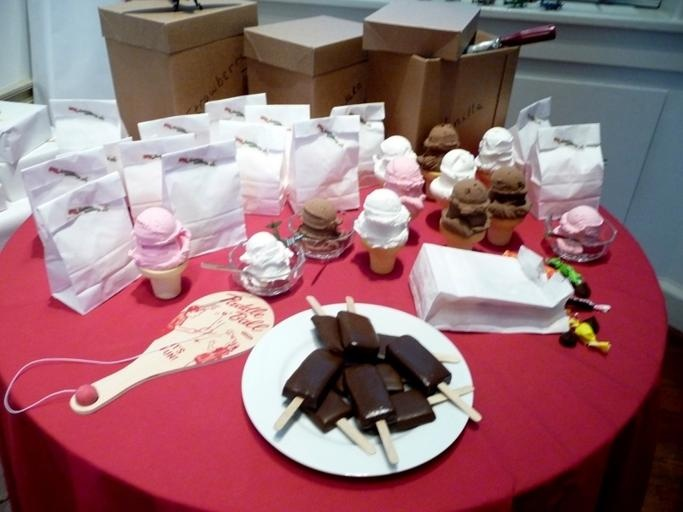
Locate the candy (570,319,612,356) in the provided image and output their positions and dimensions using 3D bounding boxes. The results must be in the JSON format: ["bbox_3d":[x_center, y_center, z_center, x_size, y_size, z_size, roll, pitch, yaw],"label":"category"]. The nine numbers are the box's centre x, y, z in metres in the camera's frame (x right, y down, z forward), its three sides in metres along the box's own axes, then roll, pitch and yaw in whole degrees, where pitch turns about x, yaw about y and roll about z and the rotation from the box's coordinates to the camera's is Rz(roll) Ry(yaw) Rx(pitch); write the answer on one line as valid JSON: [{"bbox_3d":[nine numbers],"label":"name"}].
[{"bbox_3d":[0.744,0.237,1.570,0.057,0.061,0.154,-17,41,-17],"label":"candy"}]

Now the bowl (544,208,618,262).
[{"bbox_3d":[0.884,-0.086,1.881,0.211,0.174,0.219,2,-4,0],"label":"bowl"}]

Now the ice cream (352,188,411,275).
[{"bbox_3d":[0.139,-0.089,1.757,0.183,0.330,0.218,-9,40,-6],"label":"ice cream"}]

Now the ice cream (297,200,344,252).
[{"bbox_3d":[-0.077,-0.108,1.833,0.168,0.193,0.182,9,31,8],"label":"ice cream"}]

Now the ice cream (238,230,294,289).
[{"bbox_3d":[-0.246,0.015,1.691,0.149,0.134,0.163,-15,32,-8],"label":"ice cream"}]

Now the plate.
[{"bbox_3d":[0.048,0.348,1.402,0.621,0.185,0.493,14,32,14],"label":"plate"}]

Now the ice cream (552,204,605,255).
[{"bbox_3d":[0.838,-0.096,1.804,0.143,0.134,0.161,-29,30,-28],"label":"ice cream"}]

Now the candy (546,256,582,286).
[{"bbox_3d":[0.751,0.045,1.735,0.052,0.025,0.173,-5,28,-9],"label":"candy"}]

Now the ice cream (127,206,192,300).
[{"bbox_3d":[-0.582,0.000,1.619,0.173,0.308,0.195,3,32,4],"label":"ice cream"}]
